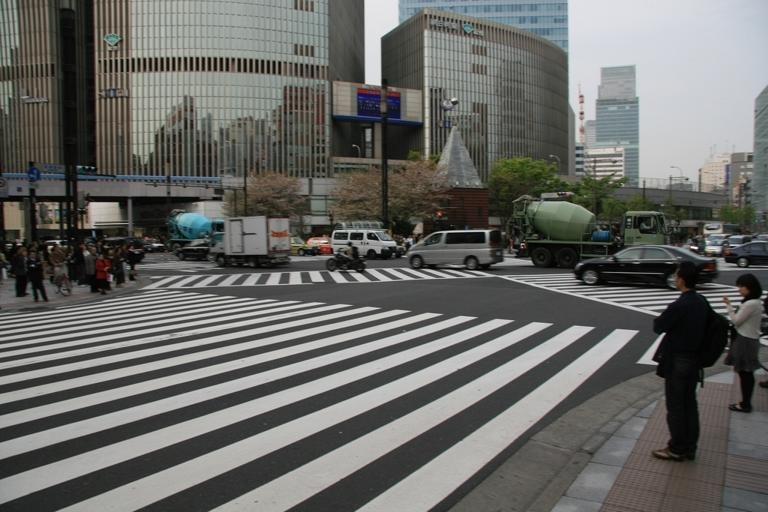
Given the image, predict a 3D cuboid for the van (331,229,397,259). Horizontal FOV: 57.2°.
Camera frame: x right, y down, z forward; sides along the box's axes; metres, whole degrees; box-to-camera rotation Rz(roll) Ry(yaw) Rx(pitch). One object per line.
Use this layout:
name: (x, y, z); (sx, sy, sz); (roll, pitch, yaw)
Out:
van: (-1.105, -0.755, 43.238); (3.630, 1.331, 1.914); (-1, 0, 24)

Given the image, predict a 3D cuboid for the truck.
truck: (-6.783, -0.853, 36.346); (3.677, 2.724, 1.167); (3, 15, 16)

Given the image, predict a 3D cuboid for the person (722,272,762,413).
person: (5.966, 1.427, 11.513); (0.940, 2.001, 0.882); (-1, 1, 28)

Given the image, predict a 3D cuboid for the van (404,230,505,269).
van: (3.434, -0.406, 33.278); (4.285, 1.433, 1.873); (3, 4, 28)

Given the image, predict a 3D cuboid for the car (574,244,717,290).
car: (10.366, 0.367, 25.879); (5.807, 1.613, 2.279); (0, 0, 38)

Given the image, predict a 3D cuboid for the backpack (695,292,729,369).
backpack: (4.679, 1.114, 10.014); (0.449, 0.894, 0.416); (-6, -1, -26)

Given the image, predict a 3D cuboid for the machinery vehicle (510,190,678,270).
machinery vehicle: (9.095, -1.290, 33.166); (8.126, 3.418, 3.343); (-2, 2, 25)

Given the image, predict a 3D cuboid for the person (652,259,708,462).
person: (4.211, 1.544, 10.324); (1.061, 2.589, 0.841); (-2, 0, -2)

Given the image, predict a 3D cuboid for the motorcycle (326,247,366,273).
motorcycle: (-1.636, 0.165, 32.450); (1.973, 0.975, 0.982); (3, -1, 0)
